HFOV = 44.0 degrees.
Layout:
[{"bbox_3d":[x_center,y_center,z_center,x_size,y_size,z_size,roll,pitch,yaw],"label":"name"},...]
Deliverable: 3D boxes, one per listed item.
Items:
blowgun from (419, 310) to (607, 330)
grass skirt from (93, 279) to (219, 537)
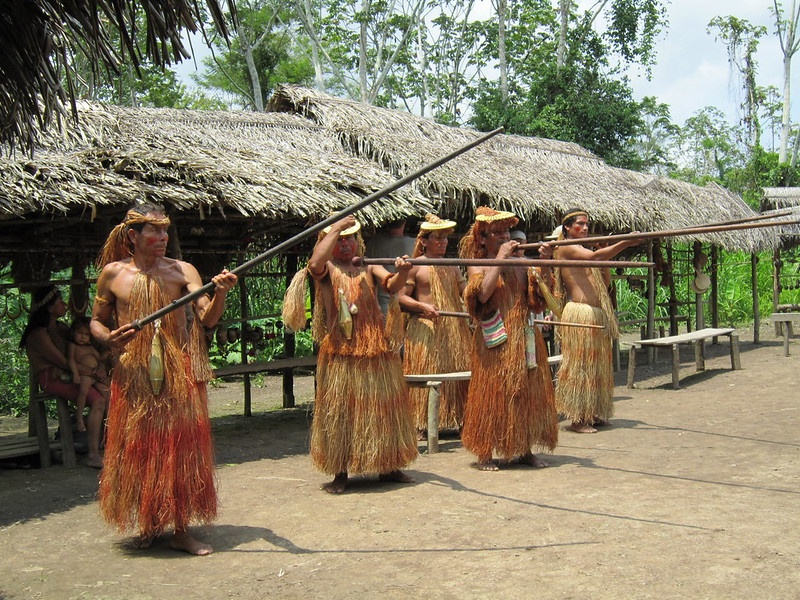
[{"bbox_3d":[0.953,0.177,8.684,1.348,0.067,0.077,5,-2,7],"label":"blowgun"},{"bbox_3d":[-1.685,0.735,6.987,0.933,1.636,0.867,1,10,-30],"label":"grass skirt"}]
